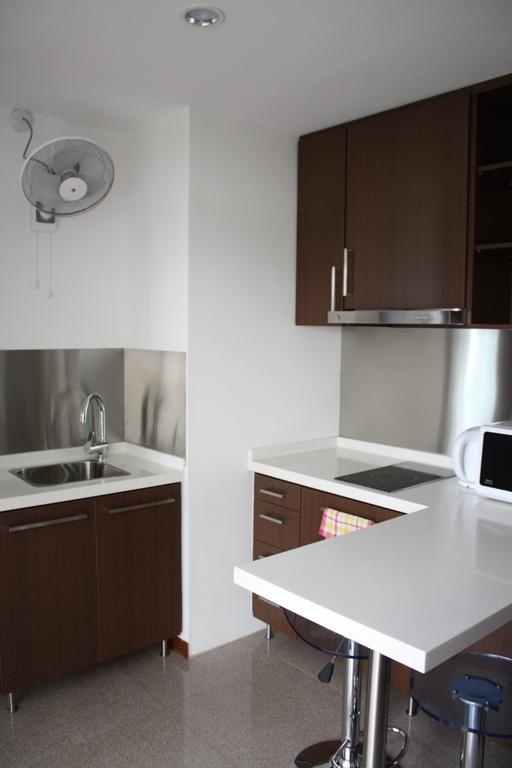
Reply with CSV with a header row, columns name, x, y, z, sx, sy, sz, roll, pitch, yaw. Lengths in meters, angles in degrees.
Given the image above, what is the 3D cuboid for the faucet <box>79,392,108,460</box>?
name,x,y,z,sx,sy,sz,roll,pitch,yaw
faucet,-0.745,0.198,2.801,0.121,0.302,0.240,-1,1,-17

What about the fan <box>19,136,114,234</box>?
name,x,y,z,sx,sy,sz,roll,pitch,yaw
fan,-0.636,-0.696,2.048,0.292,0.219,0.180,-1,1,-29
